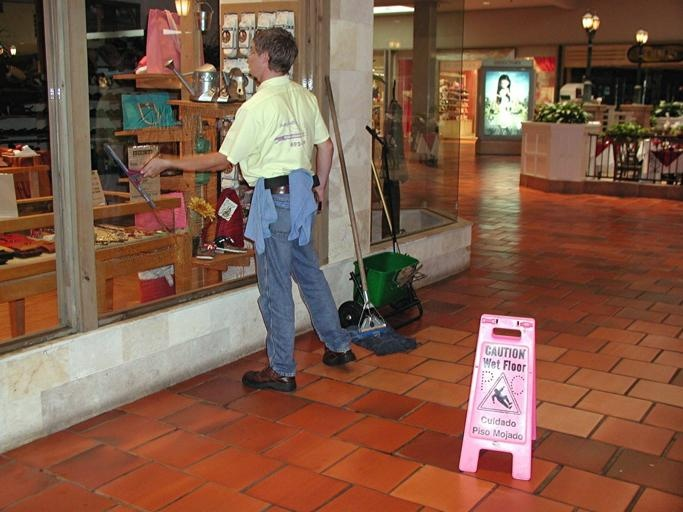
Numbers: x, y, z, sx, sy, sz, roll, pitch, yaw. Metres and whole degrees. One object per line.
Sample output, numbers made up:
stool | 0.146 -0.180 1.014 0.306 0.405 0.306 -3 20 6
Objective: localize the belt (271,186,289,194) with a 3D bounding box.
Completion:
belt | -0.378 -0.408 3.170 0.098 0.045 0.011 -2 13 -10

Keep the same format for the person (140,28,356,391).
person | -0.415 -0.271 3.277 1.029 2.248 0.496 -12 18 -43

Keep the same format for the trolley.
trolley | 0.377 0.302 4.394 0.658 0.671 0.599 21 22 36
